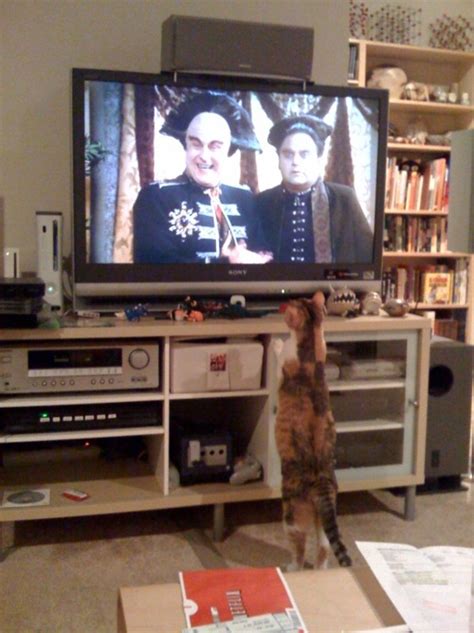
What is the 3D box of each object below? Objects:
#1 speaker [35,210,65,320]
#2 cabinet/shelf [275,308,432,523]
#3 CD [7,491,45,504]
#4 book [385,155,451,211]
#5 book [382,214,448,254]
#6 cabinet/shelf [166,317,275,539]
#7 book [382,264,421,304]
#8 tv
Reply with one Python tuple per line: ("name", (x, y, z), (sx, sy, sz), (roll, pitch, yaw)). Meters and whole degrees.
("speaker", (-0.610, -0.176, 1.826), (0.078, 0.326, 0.086), (0, 2, -20))
("cabinet/shelf", (0.434, 0.329, 2.065), (0.456, 0.751, 0.303), (-1, 20, 12))
("CD", (-0.629, 0.541, 1.672), (0.108, 0.010, 0.121), (0, 2, -24))
("book", (1.065, -0.788, 3.351), (0.389, 0.335, 0.158), (0, 2, -4))
("book", (1.060, -0.501, 3.363), (0.395, 0.226, 0.101), (0, 2, -3))
("cabinet/shelf", (-0.060, 0.361, 1.954), (0.362, 0.701, 0.520), (0, 2, -5))
("book", (0.963, -0.186, 3.274), (0.161, 0.249, 0.228), (-2, 7, -30))
("tv", (-0.059, -0.437, 1.909), (0.765, 0.628, 0.084), (-1, 5, -14))
